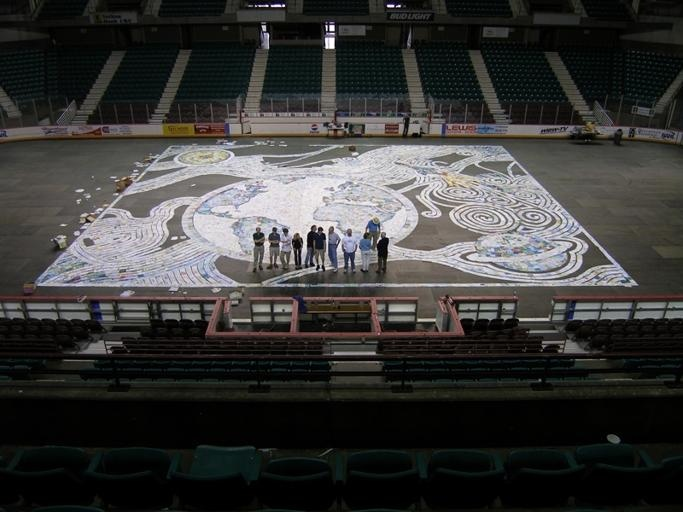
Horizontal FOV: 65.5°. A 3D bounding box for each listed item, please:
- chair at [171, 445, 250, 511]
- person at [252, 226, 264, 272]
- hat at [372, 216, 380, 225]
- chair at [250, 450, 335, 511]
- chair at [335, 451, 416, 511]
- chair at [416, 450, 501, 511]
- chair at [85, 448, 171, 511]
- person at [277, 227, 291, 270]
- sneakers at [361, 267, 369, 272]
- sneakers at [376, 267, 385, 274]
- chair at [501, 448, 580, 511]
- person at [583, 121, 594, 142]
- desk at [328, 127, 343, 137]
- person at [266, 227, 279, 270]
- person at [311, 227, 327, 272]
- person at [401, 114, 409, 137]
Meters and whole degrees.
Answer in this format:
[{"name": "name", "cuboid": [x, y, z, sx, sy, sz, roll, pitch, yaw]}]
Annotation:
[{"name": "chair", "cuboid": [-2.030, 3.771, 9.023, 1.286, 0.812, 0.899, -1, 17, 4]}, {"name": "person", "cuboid": [-2.927, -0.286, 18.762, 0.499, 1.611, 0.766, -7, 21, -7]}, {"name": "hat", "cuboid": [1.285, -1.317, 19.139, 0.386, 0.111, 0.397, 3, 22, -5]}, {"name": "chair", "cuboid": [-0.636, 3.772, 8.951, 1.308, 1.112, 0.972, 4, 44, -2]}, {"name": "chair", "cuboid": [0.707, 3.753, 8.928, 1.405, 1.288, 1.053, 2, 49, 2]}, {"name": "chair", "cuboid": [2.041, 3.769, 9.060, 1.549, 1.200, 0.999, 1, 46, 3]}, {"name": "chair", "cuboid": [-3.459, 3.734, 8.974, 1.438, 1.277, 1.073, 5, 42, -15]}, {"name": "person", "cuboid": [-1.947, -0.292, 18.807, 0.460, 1.544, 0.664, -6, 21, -6]}, {"name": "sneakers", "cuboid": [0.870, 0.470, 18.824, 0.268, 0.172, 0.122, -6, -2, 28]}, {"name": "sneakers", "cuboid": [1.430, 0.497, 18.810, 0.339, 0.231, 0.248, -3, 22, -10]}, {"name": "chair", "cuboid": [3.351, 3.738, 9.036, 1.281, 1.135, 0.995, 0, 45, 7]}, {"name": "person", "cuboid": [16.359, -8.228, 34.747, 0.665, 1.213, 1.828, 5, 18, 23]}, {"name": "desk", "cuboid": [-0.357, -8.347, 35.359, 0.931, 0.348, 0.687, 2, 22, 6]}, {"name": "person", "cuboid": [-2.380, -0.334, 18.762, 0.527, 1.574, 0.850, -7, 20, -7]}, {"name": "person", "cuboid": [-0.727, -0.279, 18.601, 0.428, 1.659, 0.544, -5, 21, -2]}, {"name": "person", "cuboid": [4.373, -8.774, 35.546, 0.502, 1.505, 1.041, -1, 19, 9]}]
